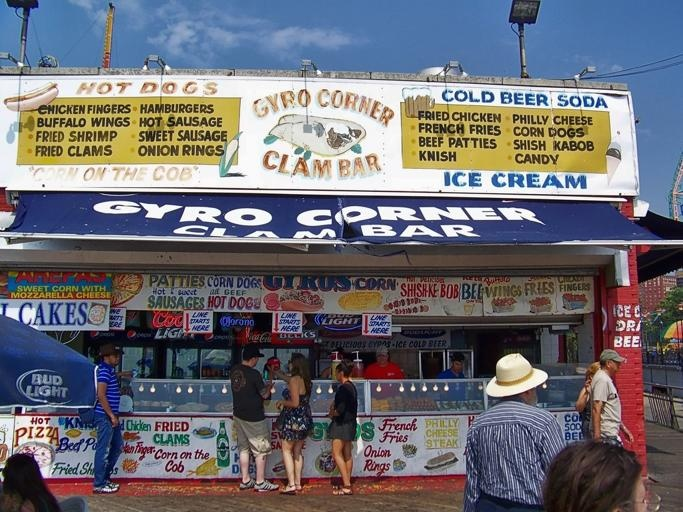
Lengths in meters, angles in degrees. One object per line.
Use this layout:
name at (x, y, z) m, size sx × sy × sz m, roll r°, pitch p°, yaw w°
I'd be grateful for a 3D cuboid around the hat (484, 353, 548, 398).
hat at (1.926, 1.318, 8.897) m, size 0.558 × 0.271 × 0.518 m, roll -21°, pitch 18°, yaw -26°

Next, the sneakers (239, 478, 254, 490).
sneakers at (-1.476, 3.620, 12.760) m, size 0.290 × 0.122 × 0.103 m, roll 1°, pitch -2°, yaw -40°

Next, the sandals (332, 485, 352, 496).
sandals at (0.013, 3.656, 12.553) m, size 0.258 × 0.101 × 0.130 m, roll 3°, pitch -6°, yaw 4°

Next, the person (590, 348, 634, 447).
person at (3.803, 2.027, 11.526) m, size 0.408 × 1.347 × 1.099 m, roll -3°, pitch -5°, yaw 42°

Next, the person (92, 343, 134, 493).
person at (-3.677, 2.551, 12.712) m, size 0.418 × 2.300 × 0.792 m, roll 2°, pitch -4°, yaw -17°

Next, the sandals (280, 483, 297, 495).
sandals at (-0.816, 3.638, 12.572) m, size 0.228 × 0.090 × 0.121 m, roll -3°, pitch -8°, yaw 42°

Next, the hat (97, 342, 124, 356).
hat at (-4.021, 1.604, 13.915) m, size 0.519 × 0.175 × 0.538 m, roll 1°, pitch -5°, yaw -1°

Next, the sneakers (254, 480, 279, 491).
sneakers at (-1.181, 3.619, 12.717) m, size 0.385 × 0.163 × 0.152 m, roll 0°, pitch -6°, yaw -10°

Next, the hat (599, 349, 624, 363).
hat at (3.923, 1.449, 11.605) m, size 0.277 × 0.136 × 0.204 m, roll 0°, pitch -2°, yaw 3°
